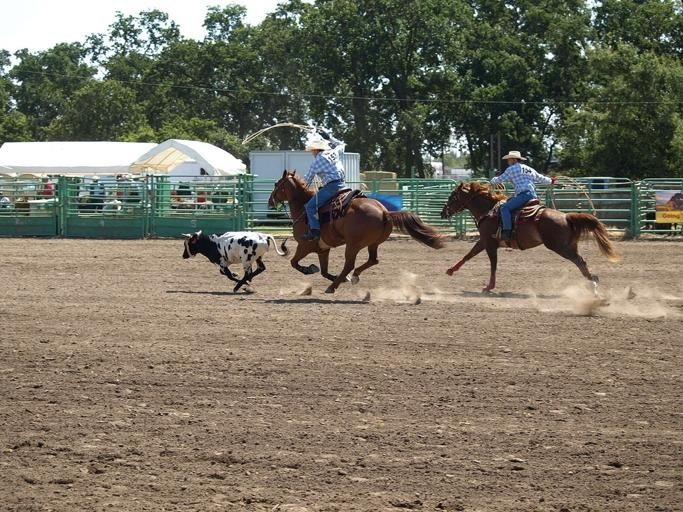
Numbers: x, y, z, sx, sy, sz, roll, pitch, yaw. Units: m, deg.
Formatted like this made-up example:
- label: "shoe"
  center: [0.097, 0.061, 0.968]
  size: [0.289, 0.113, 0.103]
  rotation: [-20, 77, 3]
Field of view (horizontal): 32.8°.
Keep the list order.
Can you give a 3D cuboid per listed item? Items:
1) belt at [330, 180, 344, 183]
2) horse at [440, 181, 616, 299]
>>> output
- label: "belt"
  center: [-0.069, -1.566, 24.662]
  size: [0.319, 0.072, 0.107]
  rotation: [-3, 3, -44]
- label: "horse"
  center: [4.113, -0.424, 25.646]
  size: [4.443, 2.395, 0.943]
  rotation: [3, 6, 42]
